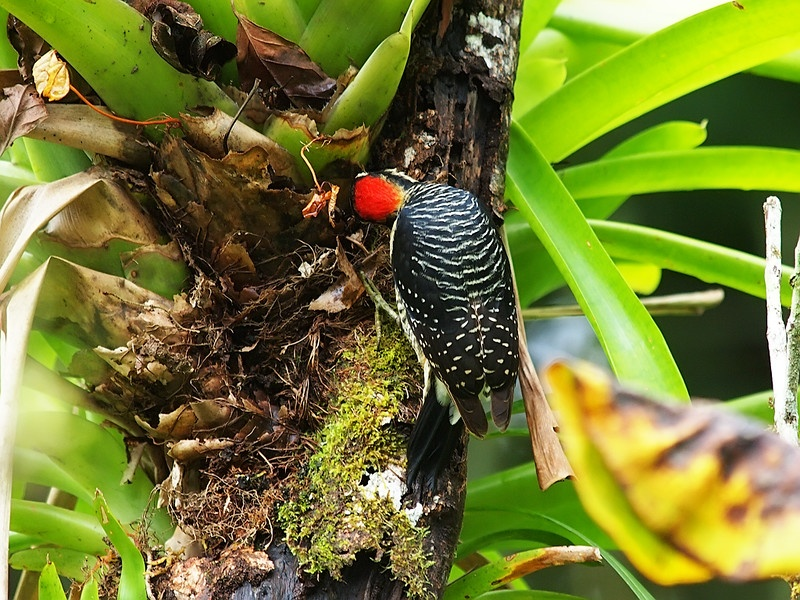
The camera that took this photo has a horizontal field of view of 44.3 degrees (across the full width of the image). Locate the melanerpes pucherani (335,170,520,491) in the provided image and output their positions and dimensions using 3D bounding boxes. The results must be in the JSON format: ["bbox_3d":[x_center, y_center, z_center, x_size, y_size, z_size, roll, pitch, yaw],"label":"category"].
[{"bbox_3d":[0.075,0.015,2.028,0.212,0.265,0.884,2,77,-50],"label":"melanerpes pucherani"}]
